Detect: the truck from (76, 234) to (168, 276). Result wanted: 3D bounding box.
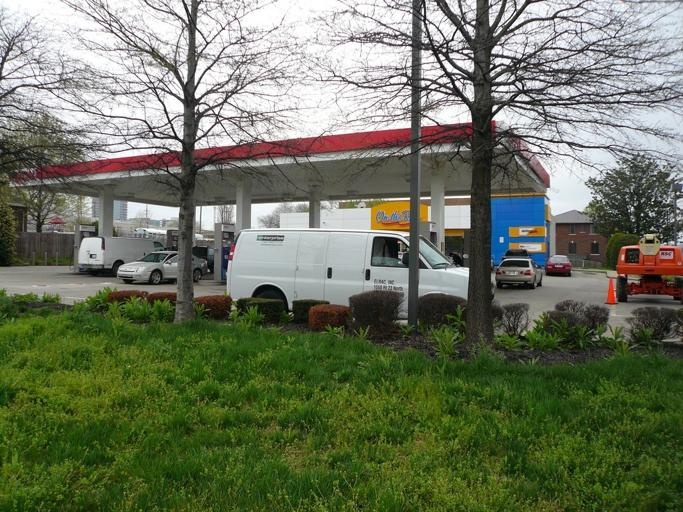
[{"bbox_3d":[-11.224,0.014,31.213,1.577,2.042,4.759,5,1,21],"label":"truck"}]

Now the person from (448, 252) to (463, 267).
[{"bbox_3d":[3.546,0.085,18.564,0.620,0.293,0.909,0,1,16],"label":"person"}]
